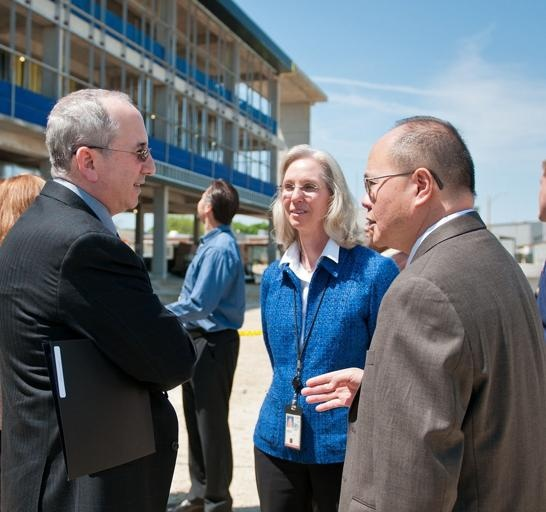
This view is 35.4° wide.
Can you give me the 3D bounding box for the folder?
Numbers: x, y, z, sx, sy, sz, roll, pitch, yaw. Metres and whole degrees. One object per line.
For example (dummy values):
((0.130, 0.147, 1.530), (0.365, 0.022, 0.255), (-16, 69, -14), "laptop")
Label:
((-0.612, 0.530, 3.133), (0.379, 0.496, 0.047), (-3, -28, -36), "folder")
